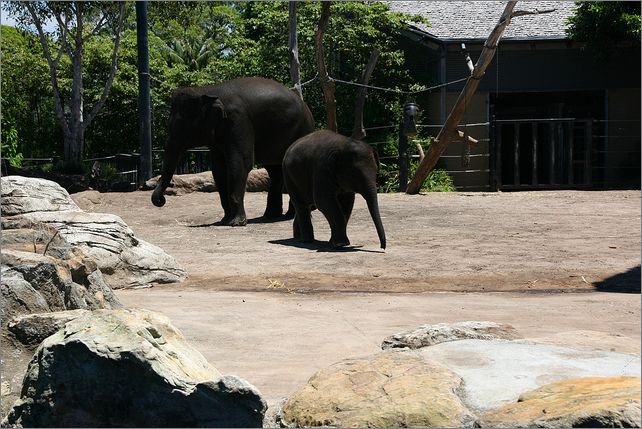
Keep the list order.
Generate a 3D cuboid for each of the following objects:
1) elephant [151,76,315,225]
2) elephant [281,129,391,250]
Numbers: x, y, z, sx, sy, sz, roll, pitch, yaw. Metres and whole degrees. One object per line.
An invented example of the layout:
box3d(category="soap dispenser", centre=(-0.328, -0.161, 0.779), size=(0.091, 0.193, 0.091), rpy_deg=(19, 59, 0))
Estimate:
box3d(category="elephant", centre=(-1.926, -1.407, 23.604), size=(3.282, 3.168, 1.193), rpy_deg=(-1, 7, -12))
box3d(category="elephant", centre=(0.375, -0.466, 21.600), size=(1.389, 2.146, 3.026), rpy_deg=(-1, 6, -38))
